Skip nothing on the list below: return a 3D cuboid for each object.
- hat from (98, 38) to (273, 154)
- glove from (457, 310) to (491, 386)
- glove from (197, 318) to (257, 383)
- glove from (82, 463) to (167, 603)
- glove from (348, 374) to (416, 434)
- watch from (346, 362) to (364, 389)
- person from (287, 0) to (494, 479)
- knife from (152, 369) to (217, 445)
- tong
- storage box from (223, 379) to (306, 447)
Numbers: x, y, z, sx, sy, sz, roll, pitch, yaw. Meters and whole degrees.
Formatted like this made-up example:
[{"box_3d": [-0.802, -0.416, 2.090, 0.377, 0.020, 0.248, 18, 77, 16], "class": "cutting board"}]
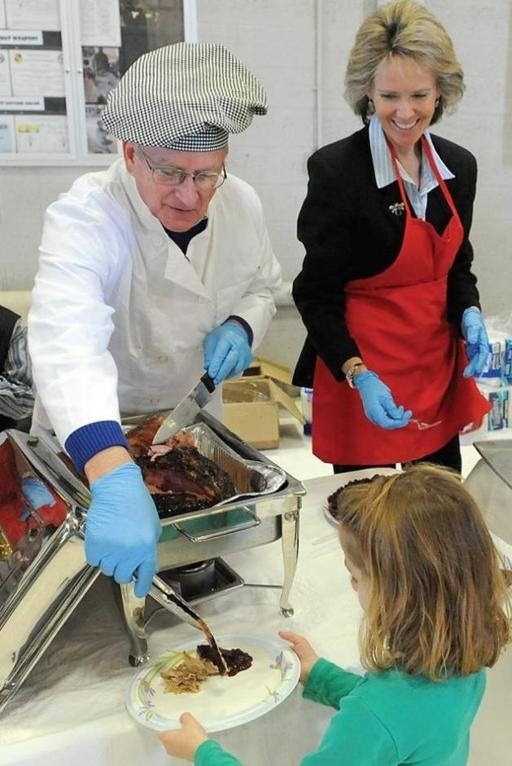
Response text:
[{"box_3d": [-0.103, -0.426, 0.957, 0.211, 0.066, 0.210, 18, 45, 25], "class": "hat"}, {"box_3d": [0.515, -0.093, 1.515, 0.048, 0.157, 0.116, 8, -28, 13], "class": "glove"}, {"box_3d": [-0.058, -0.078, 1.356, 0.083, 0.043, 0.151, 12, 36, 6], "class": "glove"}, {"box_3d": [-0.169, 0.195, 0.825, 0.113, 0.154, 0.051, -9, -13, -27], "class": "glove"}, {"box_3d": [0.268, 0.041, 1.427, 0.091, 0.146, 0.059, -18, -18, -30], "class": "glove"}, {"box_3d": [0.220, -0.017, 1.443, 0.041, 0.052, 0.028, 5, -3, 10], "class": "watch"}, {"box_3d": [0.349, -0.281, 1.496, 0.515, 1.125, 0.394, -7, 16, -8], "class": "person"}, {"box_3d": [-0.129, 0.030, 1.316, 0.232, 0.059, 0.019, -48, 28, -21], "class": "knife"}, {"box_3d": [-0.149, 0.275, 0.921, 0.024, 0.238, 0.023, -42, 4, -4], "class": "tong"}, {"box_3d": [-0.025, 0.117, 3.113, 0.374, 0.170, 0.350, -4, 34, -26], "class": "storage box"}]
